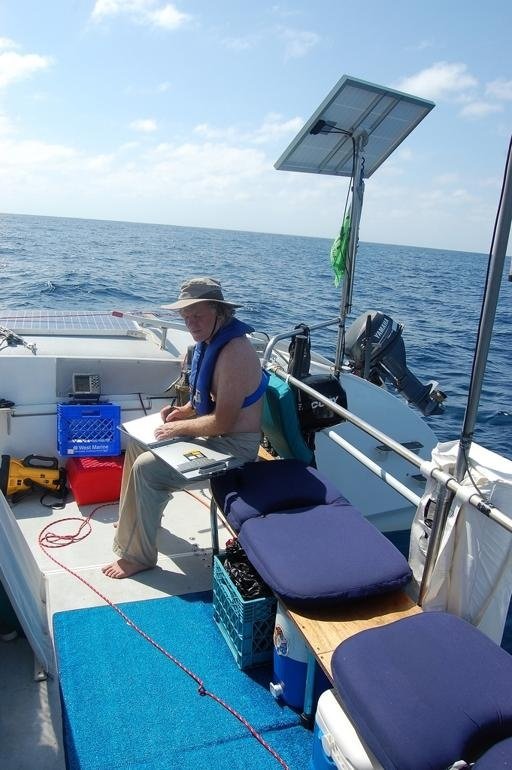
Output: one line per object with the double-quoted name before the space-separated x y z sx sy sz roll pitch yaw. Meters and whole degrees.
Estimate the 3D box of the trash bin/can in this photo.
"trash bin/can" 0.025 0.932 2.283 0.337 0.221 0.332 -1 14 -22

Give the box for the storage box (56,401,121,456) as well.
"storage box" -1.181 0.249 3.920 0.463 0.414 0.456 0 -1 -18

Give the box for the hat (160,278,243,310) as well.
"hat" -0.259 -0.446 2.790 0.214 0.088 0.244 -1 3 13

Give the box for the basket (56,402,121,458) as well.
"basket" -1.165 0.371 3.931 0.454 0.350 0.442 -3 -17 -4
